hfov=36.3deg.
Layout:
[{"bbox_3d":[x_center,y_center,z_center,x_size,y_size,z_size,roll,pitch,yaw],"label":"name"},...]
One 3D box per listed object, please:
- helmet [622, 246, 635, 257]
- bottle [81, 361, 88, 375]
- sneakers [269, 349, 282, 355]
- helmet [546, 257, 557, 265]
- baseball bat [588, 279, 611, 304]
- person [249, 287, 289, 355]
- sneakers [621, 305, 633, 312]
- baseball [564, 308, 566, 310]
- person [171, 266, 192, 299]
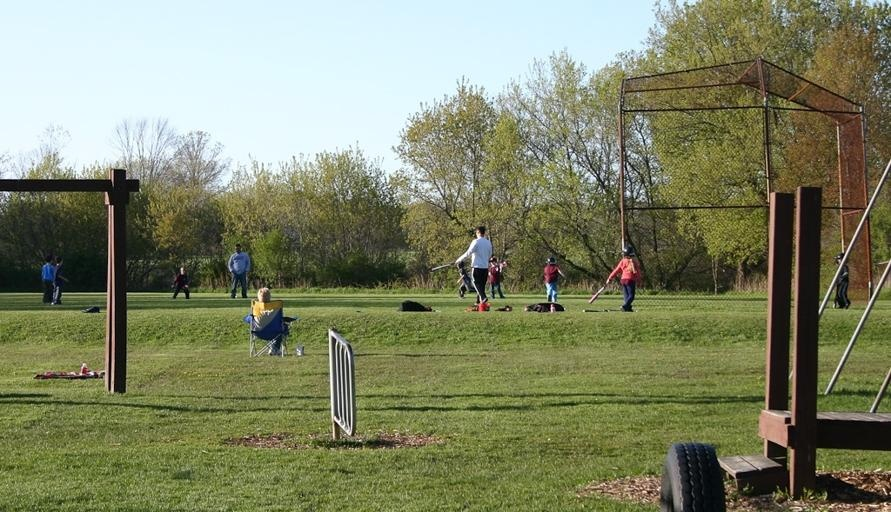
[{"bbox_3d":[7.138,-0.185,52.807,0.405,0.307,0.672,15,2,26],"label":"helmet"},{"bbox_3d":[-11.763,3.663,44.067,0.295,0.416,0.220,4,-8,-37],"label":"bottle"},{"bbox_3d":[-5.813,3.274,46.289,0.465,0.204,0.165,-4,7,3],"label":"sneakers"},{"bbox_3d":[4.518,0.210,57.274,0.366,0.375,0.117,7,-1,-4],"label":"helmet"},{"bbox_3d":[7.234,1.675,63.226,0.125,0.168,1.490,4,-46,-45],"label":"baseball bat"},{"bbox_3d":[-5.981,2.213,46.149,1.027,1.828,1.146,0,0,33],"label":"person"},{"bbox_3d":[7.076,2.051,52.609,0.182,0.220,0.549,3,-2,28],"label":"sneakers"},{"bbox_3d":[4.720,2.076,53.432,0.074,0.078,0.075,0,-6,3],"label":"baseball"},{"bbox_3d":[-12.571,1.302,64.432,0.833,1.818,0.558,-4,30,-21],"label":"person"}]
